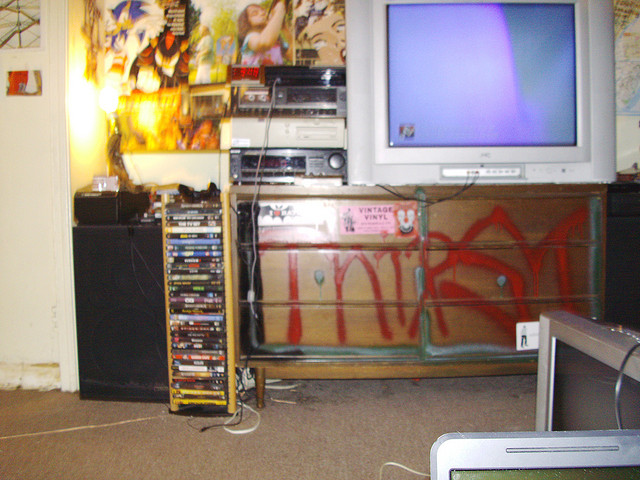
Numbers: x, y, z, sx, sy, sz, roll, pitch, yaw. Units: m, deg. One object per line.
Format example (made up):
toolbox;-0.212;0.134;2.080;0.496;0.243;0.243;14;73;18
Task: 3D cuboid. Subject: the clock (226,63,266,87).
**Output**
clock;-0.381;-0.810;3.133;0.191;0.135;0.106;0;-1;-2

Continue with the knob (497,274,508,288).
knob;0.900;0.201;3.031;0.041;0.062;0.014;1;-4;5

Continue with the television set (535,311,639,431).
television set;0.991;0.505;2.273;0.395;0.440;0.145;-5;-4;36
